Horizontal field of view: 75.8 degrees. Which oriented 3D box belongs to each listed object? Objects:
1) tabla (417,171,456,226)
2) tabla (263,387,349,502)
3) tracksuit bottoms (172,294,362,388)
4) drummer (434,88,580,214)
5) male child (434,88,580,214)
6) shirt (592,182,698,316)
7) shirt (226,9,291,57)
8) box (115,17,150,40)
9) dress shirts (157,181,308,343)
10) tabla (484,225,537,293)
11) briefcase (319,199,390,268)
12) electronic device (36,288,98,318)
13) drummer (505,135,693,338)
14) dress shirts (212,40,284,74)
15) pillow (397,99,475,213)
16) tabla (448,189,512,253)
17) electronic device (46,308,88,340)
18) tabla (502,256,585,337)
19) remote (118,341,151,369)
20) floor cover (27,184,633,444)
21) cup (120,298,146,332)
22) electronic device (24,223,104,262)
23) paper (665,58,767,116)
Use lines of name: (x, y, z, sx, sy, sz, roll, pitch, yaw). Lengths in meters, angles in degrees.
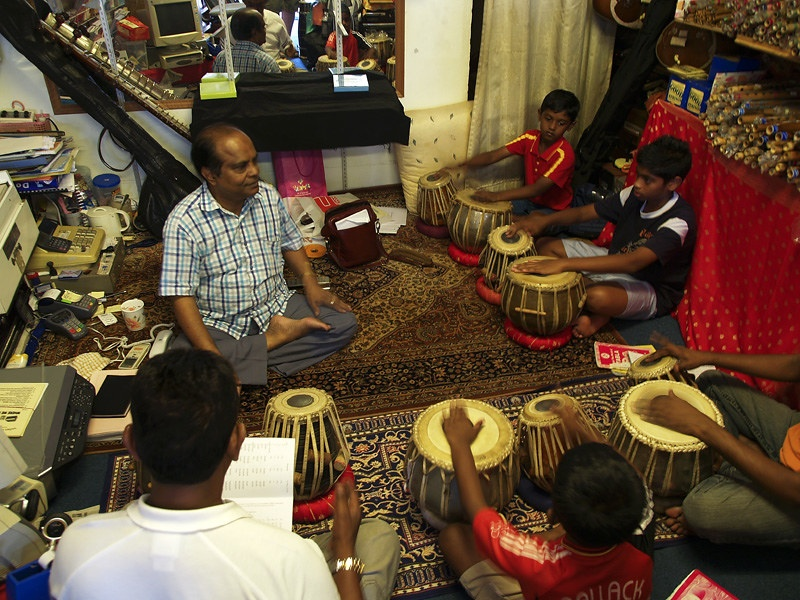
tabla: (0.277, -0.856, 4.668, 0.362, 0.380, 0.374, -2, 8, -22)
tabla: (-0.356, 0.650, 2.572, 0.487, 0.474, 0.495, 2, 28, -2)
tracksuit bottoms: (-0.759, 0.051, 3.140, 0.998, 0.264, 0.544, -13, 40, -28)
drummer: (1.017, -1.185, 4.464, 1.149, 1.118, 0.766, -12, 46, -9)
male child: (1.040, -1.192, 4.465, 1.098, 1.109, 0.770, -12, 46, -8)
shirt: (1.727, -0.330, 3.516, 0.413, 0.579, 0.745, -21, 46, 0)
shirt: (-1.305, -2.441, 4.966, 0.656, 0.522, 0.325, 0, 74, 0)
box: (-2.356, -2.362, 4.491, 0.218, 0.134, 0.213, -17, 55, -38)
dress shirts: (-1.053, -0.198, 3.221, 1.005, 0.888, 0.508, -24, 49, -33)
tabla: (0.840, -0.250, 3.859, 0.352, 0.355, 0.306, -6, 14, -22)
briefcase: (-0.399, -0.529, 4.227, 0.486, 0.463, 0.291, -21, 39, -11)
electronic device: (-2.419, 0.003, 3.714, 0.387, 0.148, 0.183, 3, 37, -4)
drummer: (1.416, -0.480, 3.658, 1.169, 1.268, 1.163, 22, 42, 37)
dress shirts: (-1.420, -2.190, 4.662, 0.594, 0.265, 0.254, -12, 35, -14)
pillow: (0.233, -1.444, 5.175, 0.384, 0.960, 1.069, -15, 27, -22)
tabla: (0.675, -0.616, 4.371, 0.520, 0.475, 0.472, 9, 30, 9)
electronic device: (-2.342, 0.161, 3.571, 0.282, 0.106, 0.169, 31, 50, 20)
tabla: (0.966, 0.003, 3.456, 0.542, 0.479, 0.316, 9, 36, 18)
remote: (-1.753, 0.360, 3.413, 0.177, 0.074, 0.265, -3, 44, 5)
floor cover: (-0.464, -0.167, 4.162, 3.782, 0.017, 2.712, 32, 31, 34)
cup: (-1.900, 0.110, 3.623, 0.139, 0.147, 0.168, 21, 41, 22)
electronic device: (-2.526, -0.428, 3.893, 0.348, 0.202, 0.335, -1, 39, -9)
paper: (2.123, -1.455, 3.470, 0.420, 0.248, 0.418, -18, 35, -16)
